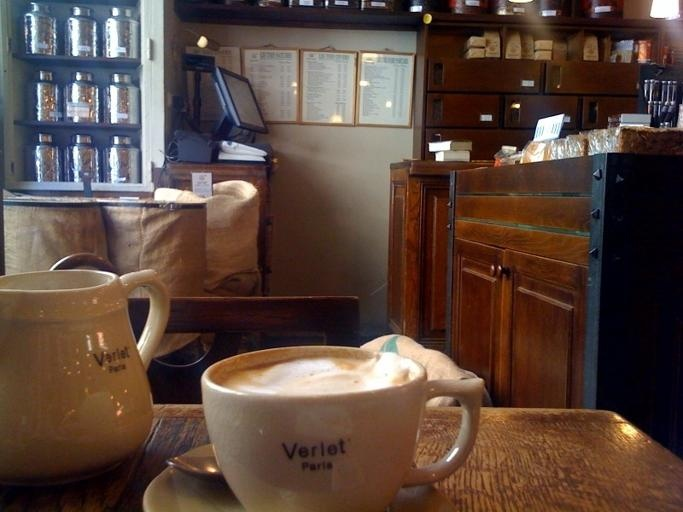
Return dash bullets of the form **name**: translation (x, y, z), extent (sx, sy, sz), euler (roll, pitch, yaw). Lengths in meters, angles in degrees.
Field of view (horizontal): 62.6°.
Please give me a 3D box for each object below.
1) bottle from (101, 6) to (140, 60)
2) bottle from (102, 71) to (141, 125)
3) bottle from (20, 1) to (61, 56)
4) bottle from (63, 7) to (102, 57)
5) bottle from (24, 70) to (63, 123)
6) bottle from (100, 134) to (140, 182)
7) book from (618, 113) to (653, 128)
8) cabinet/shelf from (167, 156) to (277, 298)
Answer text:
- **bottle**: translation (-1.337, -1.342, 3.412), extent (0.214, 0.306, 0.094), euler (-4, 6, -21)
- **bottle**: translation (-1.362, -0.960, 3.476), extent (0.219, 0.313, 0.109), euler (-3, 6, -17)
- **bottle**: translation (-1.817, -1.360, 3.394), extent (0.188, 0.287, 0.112), euler (-4, 6, -26)
- **bottle**: translation (-1.594, -1.345, 3.409), extent (0.221, 0.283, 0.103), euler (-1, 6, 7)
- **bottle**: translation (-1.823, -0.979, 3.463), extent (0.177, 0.301, 0.113), euler (-5, 6, -27)
- **bottle**: translation (-1.364, -0.605, 3.510), extent (0.272, 0.419, 0.262), euler (2, 11, 0)
- **book**: translation (0.878, -0.408, 1.685), extent (0.078, 0.049, 0.170), euler (0, 5, 25)
- **cabinet/shelf**: translation (-0.811, -0.216, 3.726), extent (0.791, 1.027, 0.667), euler (1, 6, 0)
